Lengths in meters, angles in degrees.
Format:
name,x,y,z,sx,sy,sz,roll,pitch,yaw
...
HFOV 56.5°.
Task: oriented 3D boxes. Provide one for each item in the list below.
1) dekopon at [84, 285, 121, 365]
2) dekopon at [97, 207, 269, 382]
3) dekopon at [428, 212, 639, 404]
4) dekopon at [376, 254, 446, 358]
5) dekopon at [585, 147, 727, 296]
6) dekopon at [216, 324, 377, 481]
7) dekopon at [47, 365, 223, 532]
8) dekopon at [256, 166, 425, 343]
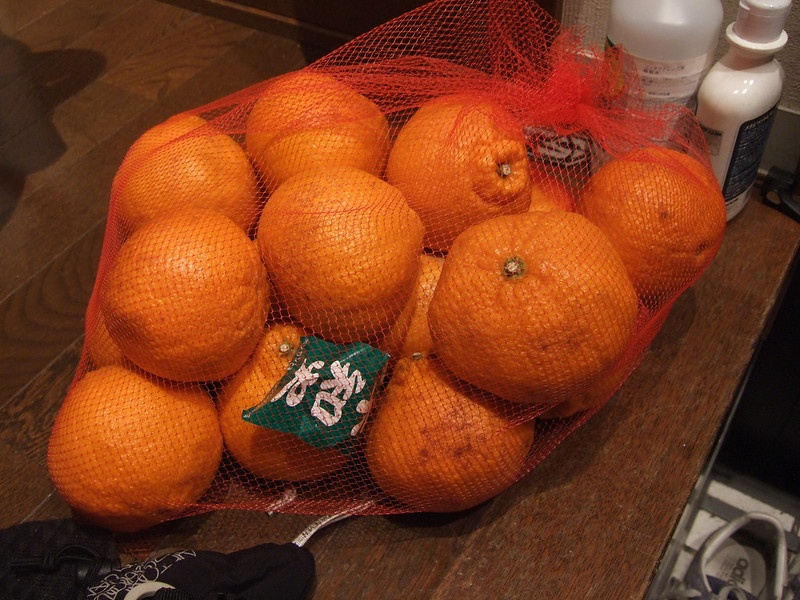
name,x,y,z,sx,sy,sz,roll,pitch,yaw
dekopon,-0.311,0.029,0.781,0.062,0.044,0.086,0,90,-21
dekopon,-0.226,0.002,0.794,0.163,0.193,0.200,-4,97,26
dekopon,0.122,0.001,0.757,0.187,0.114,0.212,2,54,19
dekopon,0.015,0.016,0.792,0.079,0.085,0.110,-1,67,23
dekopon,0.269,-0.089,0.873,0.144,0.182,0.152,-9,38,-4
dekopon,-0.109,0.105,0.808,0.147,0.086,0.126,-40,91,-9
dekopon,-0.272,0.136,0.802,0.125,0.170,0.144,-8,92,-4
dekopon,-0.055,-0.049,0.747,0.162,0.090,0.158,-22,58,-6
